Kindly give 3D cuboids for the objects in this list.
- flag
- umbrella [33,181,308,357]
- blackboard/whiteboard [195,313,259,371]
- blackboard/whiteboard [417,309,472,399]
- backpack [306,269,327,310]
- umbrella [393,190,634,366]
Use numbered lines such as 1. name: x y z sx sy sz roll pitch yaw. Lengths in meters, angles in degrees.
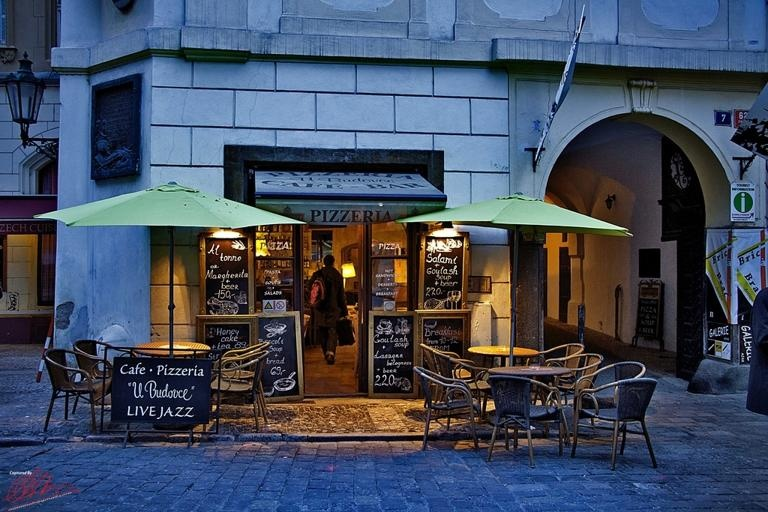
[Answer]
1. flag: 3.209 -3.083 17.361 0.953 2.916 1.409 -1 -3 1
2. umbrella: -3.466 0.113 15.903 3.170 2.092 3.350 3 1 4
3. blackboard/whiteboard: -2.784 1.497 16.732 1.013 0.935 0.100 0 1 -5
4. blackboard/whiteboard: 1.036 1.552 17.514 0.969 1.284 0.101 -1 -34 8
5. backpack: -1.337 0.764 19.595 0.356 0.637 0.459 12 -5 -43
6. umbrella: 2.194 0.558 17.150 4.069 3.408 3.905 0 4 -10
